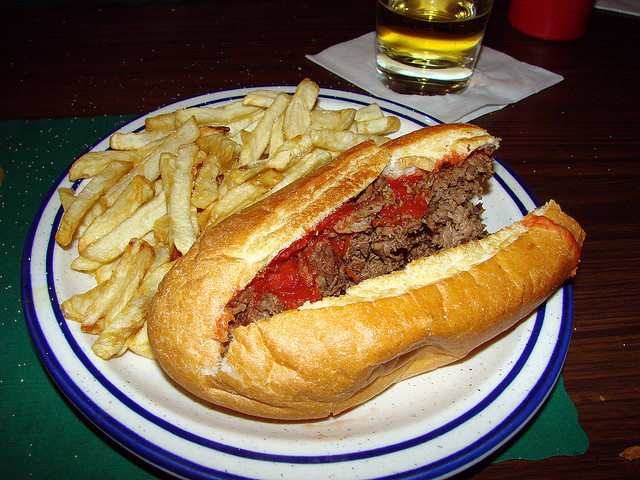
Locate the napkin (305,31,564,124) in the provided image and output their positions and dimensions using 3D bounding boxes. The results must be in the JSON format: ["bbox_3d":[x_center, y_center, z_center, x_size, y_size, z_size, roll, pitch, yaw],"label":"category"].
[{"bbox_3d":[1.123,-1.206,4.160,1.192,0.065,1.280,-26,46,-29],"label":"napkin"}]
